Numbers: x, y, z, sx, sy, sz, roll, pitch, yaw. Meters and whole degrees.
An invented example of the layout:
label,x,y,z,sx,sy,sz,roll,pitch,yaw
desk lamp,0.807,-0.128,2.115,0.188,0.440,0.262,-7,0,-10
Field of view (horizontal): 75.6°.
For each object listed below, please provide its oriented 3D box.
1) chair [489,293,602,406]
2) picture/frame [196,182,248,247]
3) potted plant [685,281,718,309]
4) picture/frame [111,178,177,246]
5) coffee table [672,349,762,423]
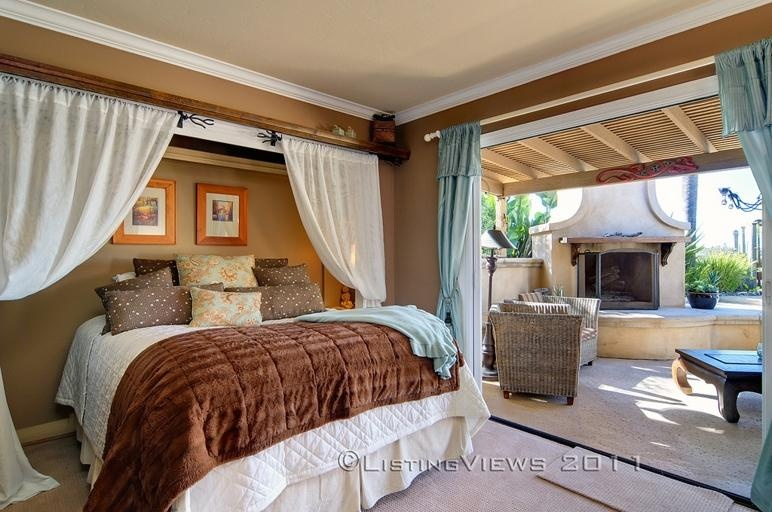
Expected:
label,x,y,z,sx,sy,sz,roll,pitch,yaw
chair,1.966,1.028,6.135,1.207,1.031,1.989,-1,1,23
picture/frame,-1.810,-0.454,5.424,0.709,0.853,0.059,-1,2,-37
potted plant,5.079,0.603,8.029,0.445,0.481,0.460,1,0,-21
picture/frame,-2.365,-0.426,4.822,0.550,0.716,0.060,20,-5,-44
coffee table,3.372,1.300,4.952,0.612,0.376,0.768,-1,2,-10
